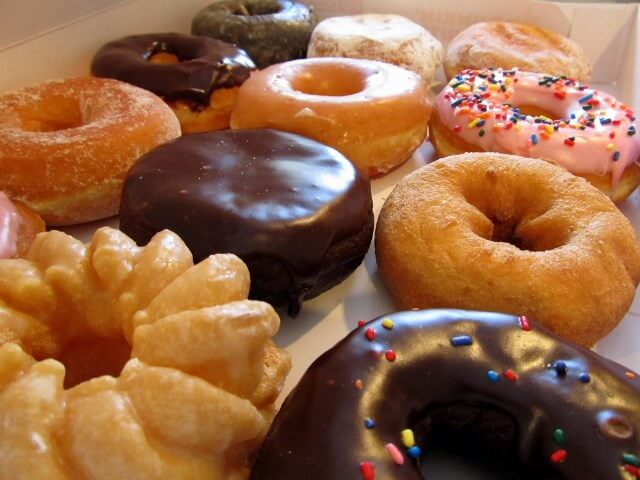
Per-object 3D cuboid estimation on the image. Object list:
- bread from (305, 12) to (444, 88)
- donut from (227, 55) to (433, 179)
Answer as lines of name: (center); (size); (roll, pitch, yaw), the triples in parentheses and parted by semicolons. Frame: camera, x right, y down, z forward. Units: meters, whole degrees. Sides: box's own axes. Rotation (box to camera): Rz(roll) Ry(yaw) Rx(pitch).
bread: (0.181, -0.748, 2.436); (0.351, 0.150, 0.361); (-17, 29, -40)
donut: (0.012, -0.431, 2.027); (0.462, 0.201, 0.470); (29, 43, 35)
